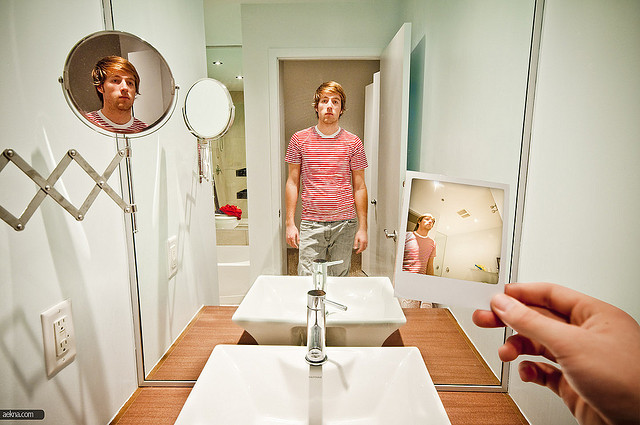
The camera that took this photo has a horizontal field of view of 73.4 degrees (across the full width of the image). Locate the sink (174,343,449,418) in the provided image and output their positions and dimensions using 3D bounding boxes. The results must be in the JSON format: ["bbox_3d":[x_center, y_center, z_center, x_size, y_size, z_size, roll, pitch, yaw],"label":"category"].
[{"bbox_3d":[-0.026,0.529,1.313,0.727,0.206,0.336,-2,8,-3],"label":"sink"}]

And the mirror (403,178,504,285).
[{"bbox_3d":[0.359,0.054,1.156,0.246,0.255,0.014,10,-8,3],"label":"mirror"}]

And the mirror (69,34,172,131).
[{"bbox_3d":[-0.608,-0.381,1.306,0.314,0.249,0.129,4,11,-13],"label":"mirror"}]
